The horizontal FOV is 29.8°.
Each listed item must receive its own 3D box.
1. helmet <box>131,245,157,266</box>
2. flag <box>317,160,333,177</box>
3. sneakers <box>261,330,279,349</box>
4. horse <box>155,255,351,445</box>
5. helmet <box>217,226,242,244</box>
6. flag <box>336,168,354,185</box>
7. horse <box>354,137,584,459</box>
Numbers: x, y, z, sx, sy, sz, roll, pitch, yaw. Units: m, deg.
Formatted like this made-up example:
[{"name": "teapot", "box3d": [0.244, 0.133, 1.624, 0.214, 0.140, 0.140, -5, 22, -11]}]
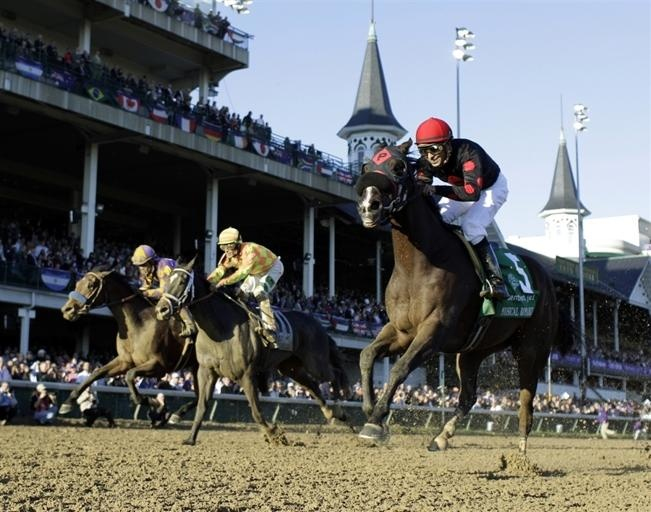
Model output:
[{"name": "helmet", "box3d": [-2.857, -0.021, 19.452, 0.259, 0.244, 0.387, -2, 28, 22]}, {"name": "flag", "box3d": [-0.006, -2.409, 33.607, 0.118, 0.389, 0.827, 1, -5, 28]}, {"name": "sneakers", "box3d": [-0.829, 1.253, 18.533, 0.180, 0.312, 0.120, -12, 9, 0]}, {"name": "horse", "box3d": [-0.901, 1.578, 18.867, 0.889, 2.670, 4.116, -3, -5, 43]}, {"name": "helmet", "box3d": [-1.429, -0.288, 18.579, 0.325, 0.284, 0.641, 4, -4, -4]}, {"name": "flag", "box3d": [0.585, -2.233, 34.508, 0.256, 0.416, 1.046, 1, -5, 21]}, {"name": "horse", "box3d": [1.575, 0.610, 16.166, 3.385, 3.947, 0.981, 7, -6, -41]}]
